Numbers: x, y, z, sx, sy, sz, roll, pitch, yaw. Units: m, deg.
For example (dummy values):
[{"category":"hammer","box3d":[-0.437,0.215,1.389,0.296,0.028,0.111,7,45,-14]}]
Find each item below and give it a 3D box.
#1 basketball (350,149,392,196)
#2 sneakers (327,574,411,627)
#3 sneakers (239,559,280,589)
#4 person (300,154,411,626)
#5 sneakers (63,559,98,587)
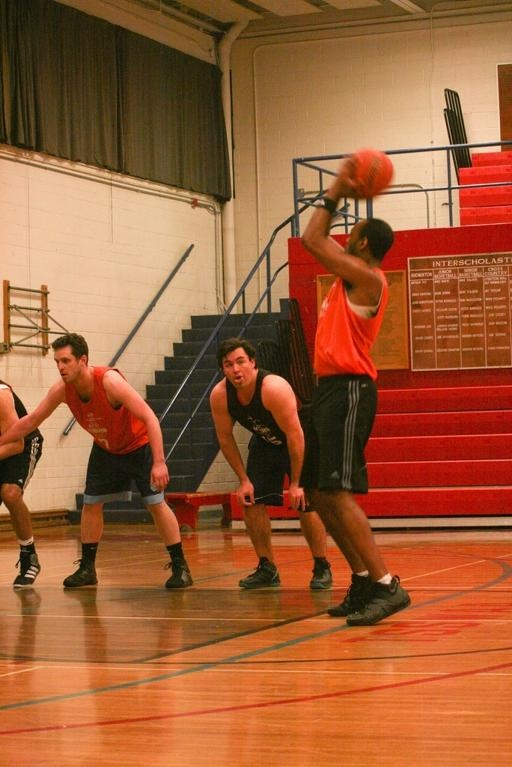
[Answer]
[{"category":"basketball","box3d":[0.421,-0.768,2.736,0.136,0.190,0.217,6,9,14]},{"category":"sneakers","box3d":[0.434,0.828,2.857,0.282,0.115,0.184,-12,-2,-34]},{"category":"sneakers","box3d":[0.069,0.977,3.838,0.277,0.157,0.095,2,-6,-25]},{"category":"person","box3d":[0.395,0.044,3.008,0.501,1.767,0.848,4,9,3]},{"category":"sneakers","box3d":[-1.005,1.070,4.170,0.254,0.159,0.095,6,-14,-32]}]
